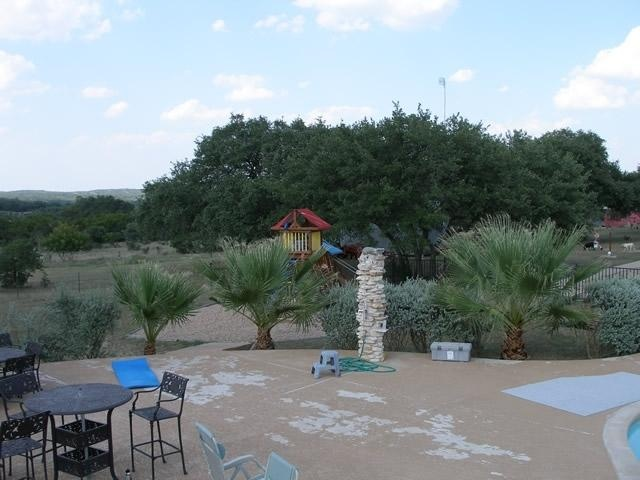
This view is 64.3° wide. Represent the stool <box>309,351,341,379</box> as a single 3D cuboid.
[{"bbox_3d":[0.142,2.874,11.870,0.702,0.564,0.637,-1,4,-1],"label":"stool"}]
